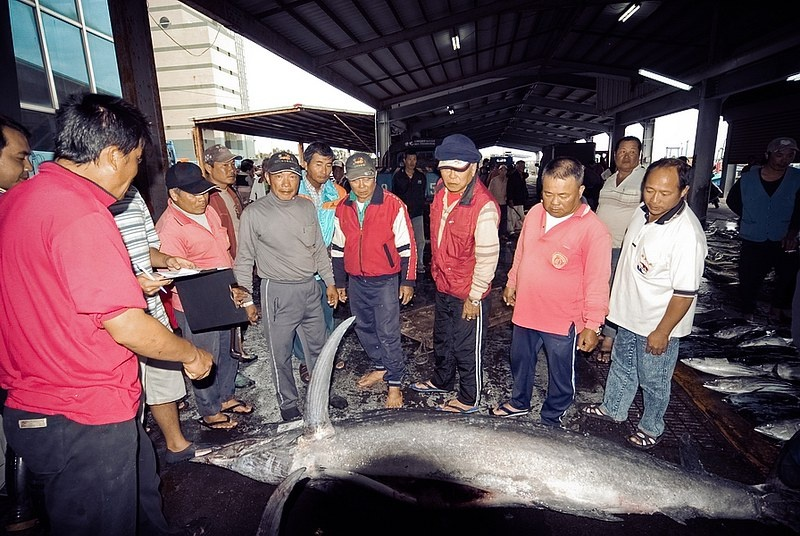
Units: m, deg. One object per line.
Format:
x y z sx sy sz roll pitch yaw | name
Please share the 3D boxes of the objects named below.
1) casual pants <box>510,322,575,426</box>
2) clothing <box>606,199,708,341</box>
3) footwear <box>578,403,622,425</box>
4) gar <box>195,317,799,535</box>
1.589 1.107 5.459 0.706 1.360 0.324 12 28 30 | casual pants
2.685 0.010 5.218 0.818 1.358 1.270 -7 42 5 | clothing
2.288 1.708 5.622 0.187 0.112 0.461 -12 21 -40 | footwear
1.027 1.777 4.595 3.842 0.654 2.277 7 29 4 | gar
